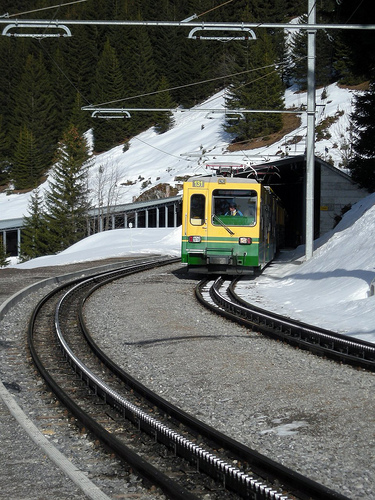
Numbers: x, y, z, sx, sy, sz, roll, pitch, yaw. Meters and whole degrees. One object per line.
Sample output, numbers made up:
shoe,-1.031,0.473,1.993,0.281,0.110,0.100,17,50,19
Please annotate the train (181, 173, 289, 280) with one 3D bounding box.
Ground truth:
train,1.566,-0.709,19.482,2.361,3.461,3.870,-1,5,17
